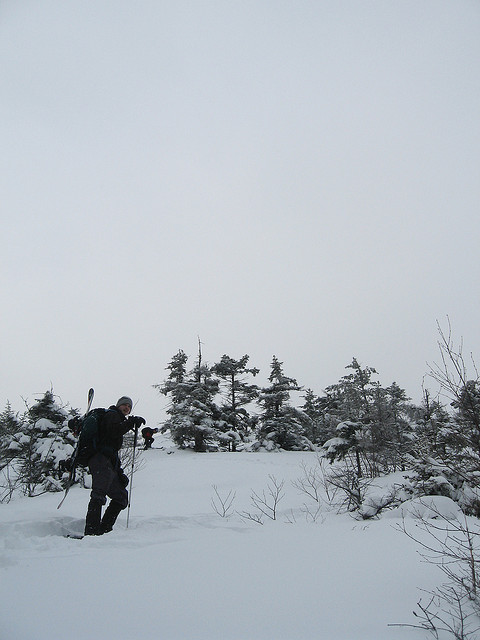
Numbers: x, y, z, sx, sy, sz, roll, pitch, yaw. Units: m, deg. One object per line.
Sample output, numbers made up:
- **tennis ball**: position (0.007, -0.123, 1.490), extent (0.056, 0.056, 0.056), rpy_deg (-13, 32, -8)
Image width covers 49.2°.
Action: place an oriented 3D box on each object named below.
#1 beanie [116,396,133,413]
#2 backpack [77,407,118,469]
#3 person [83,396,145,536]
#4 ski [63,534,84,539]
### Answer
- **beanie**: position (-1.491, 1.080, 6.757), extent (0.194, 0.237, 0.524), rpy_deg (4, -23, -13)
- **backpack**: position (-1.709, 1.355, 6.214), extent (0.364, 0.694, 0.443), rpy_deg (5, -23, -14)
- **person**: position (-1.499, 1.625, 6.179), extent (0.442, 1.681, 0.953), rpy_deg (-6, -23, 11)
- **ski**: position (-1.776, 2.297, 5.573), extent (0.199, 0.054, 1.115), rpy_deg (5, -23, -16)
